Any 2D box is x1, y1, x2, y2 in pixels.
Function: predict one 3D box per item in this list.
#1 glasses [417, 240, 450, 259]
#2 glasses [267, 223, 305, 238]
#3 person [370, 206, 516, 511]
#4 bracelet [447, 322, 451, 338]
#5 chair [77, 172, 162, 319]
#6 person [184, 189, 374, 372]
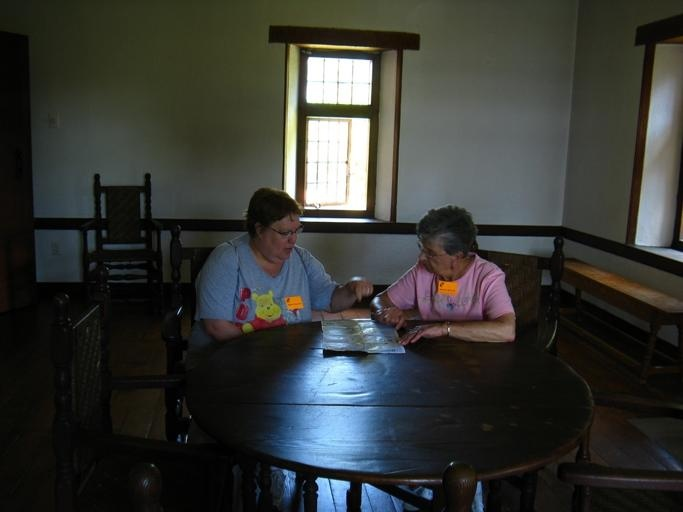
[{"bbox_3d":[0.424,-0.033,2.602,0.182,0.088,0.086,8,11,39],"label":"glasses"},{"bbox_3d":[-0.273,-0.119,2.524,0.129,0.043,0.127,-12,14,-36],"label":"glasses"},{"bbox_3d":[0.503,0.234,2.673,0.613,1.168,0.797,-6,15,-22],"label":"person"},{"bbox_3d":[0.495,0.346,2.500,0.010,0.044,0.040,2,-2,7],"label":"bracelet"},{"bbox_3d":[-2.131,-0.018,5.411,0.711,1.271,0.701,3,-21,-34],"label":"chair"},{"bbox_3d":[-0.316,0.217,2.699,0.789,1.076,0.798,2,15,-19],"label":"person"}]
